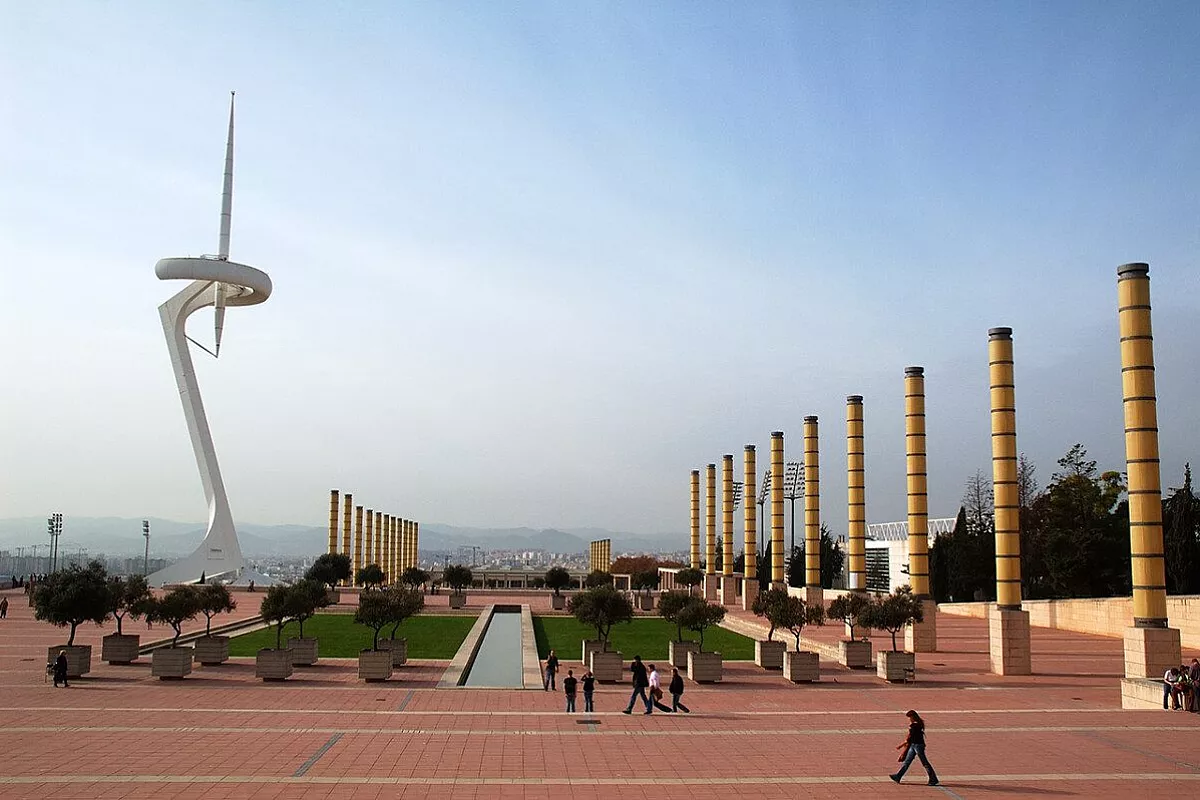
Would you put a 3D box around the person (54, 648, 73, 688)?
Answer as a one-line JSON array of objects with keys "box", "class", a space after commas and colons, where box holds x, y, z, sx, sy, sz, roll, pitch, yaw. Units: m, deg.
[{"box": [-18.538, 9.165, 37.480, 0.602, 1.226, 1.503, 6, -14, -25], "class": "person"}]
